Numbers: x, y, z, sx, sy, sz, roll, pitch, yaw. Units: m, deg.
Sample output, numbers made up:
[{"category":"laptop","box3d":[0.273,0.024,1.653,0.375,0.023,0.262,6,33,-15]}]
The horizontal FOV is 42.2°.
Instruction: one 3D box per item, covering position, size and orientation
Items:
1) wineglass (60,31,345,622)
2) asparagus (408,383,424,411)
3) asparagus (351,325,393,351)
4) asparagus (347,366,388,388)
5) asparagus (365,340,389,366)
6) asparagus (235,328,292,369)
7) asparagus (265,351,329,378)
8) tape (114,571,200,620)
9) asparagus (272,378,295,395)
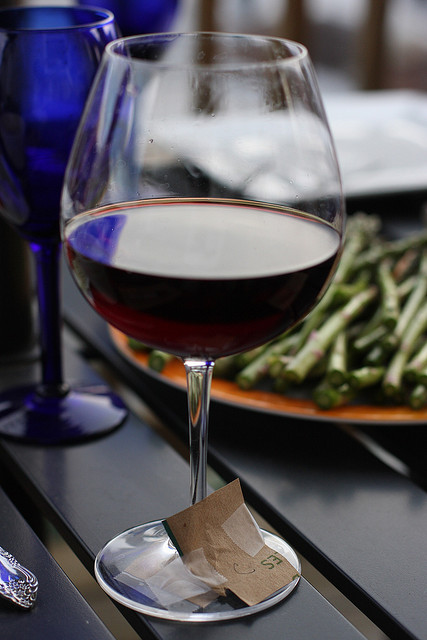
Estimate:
[{"category":"wineglass","box3d":[-0.013,-0.022,0.269,0.135,0.246,0.107,5,13,20]},{"category":"asparagus","box3d":[0.153,0.058,0.416,0.010,0.016,0.026,8,14,31]},{"category":"asparagus","box3d":[0.152,0.010,0.532,0.016,0.014,0.056,35,38,27]},{"category":"asparagus","box3d":[0.122,0.043,0.445,0.012,0.014,0.047,22,19,40]},{"category":"asparagus","box3d":[0.142,0.029,0.487,0.009,0.009,0.034,42,36,18]},{"category":"asparagus","box3d":[0.034,0.023,0.391,0.061,0.009,0.010,-34,78,-23]},{"category":"asparagus","box3d":[0.074,0.031,0.491,0.050,0.021,0.033,13,21,41]},{"category":"tape","box3d":[-0.026,0.128,0.263,0.042,0.001,0.018,1,8,37]},{"category":"asparagus","box3d":[0.056,0.056,0.460,0.013,0.014,0.015,1,24,4]}]
